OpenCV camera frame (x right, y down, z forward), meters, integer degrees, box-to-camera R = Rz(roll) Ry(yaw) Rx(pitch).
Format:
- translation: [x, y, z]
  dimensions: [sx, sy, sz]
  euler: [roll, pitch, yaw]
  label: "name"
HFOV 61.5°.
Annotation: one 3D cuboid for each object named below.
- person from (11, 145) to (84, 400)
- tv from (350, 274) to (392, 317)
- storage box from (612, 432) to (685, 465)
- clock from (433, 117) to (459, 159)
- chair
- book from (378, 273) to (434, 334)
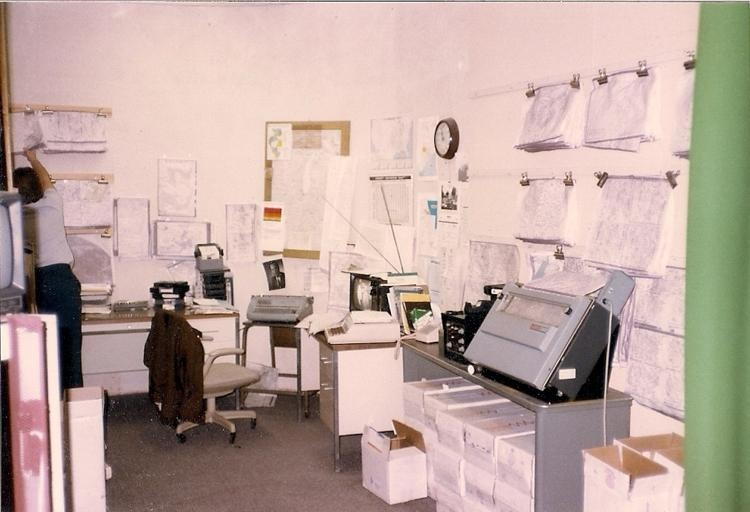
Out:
- translation: [-2.327, 0.094, 4.539]
  dimensions: [0.359, 1.716, 0.855]
  euler: [-7, 11, -28]
  label: "person"
- translation: [0.054, 0.273, 4.696]
  dimensions: [0.477, 0.308, 0.273]
  euler: [-3, -5, 44]
  label: "tv"
- translation: [1.315, 0.888, 2.987]
  dimensions: [0.168, 0.099, 0.166]
  euler: [2, -4, -16]
  label: "storage box"
- translation: [0.531, -0.864, 4.655]
  dimensions: [0.120, 0.298, 0.298]
  euler: [-3, 10, -10]
  label: "clock"
- translation: [-1.275, 0.846, 4.678]
  dimensions: [0.804, 0.919, 0.728]
  euler: [-1, 2, -38]
  label: "chair"
- translation: [0.222, 0.323, 4.392]
  dimensions: [0.343, 0.347, 0.417]
  euler: [-1, 9, 1]
  label: "book"
